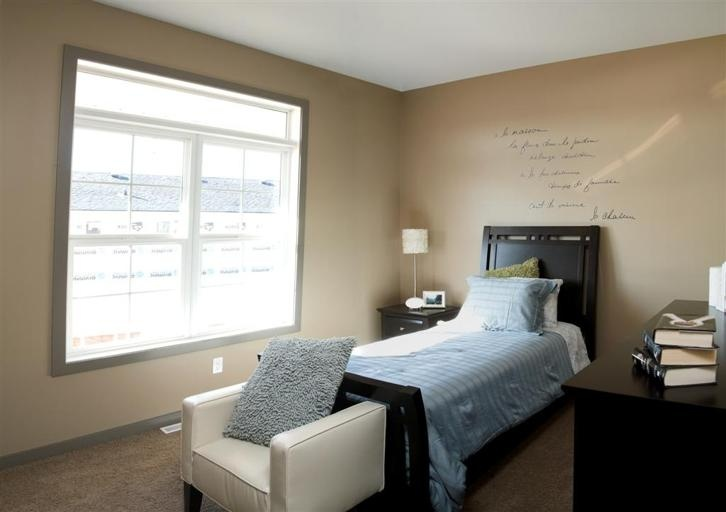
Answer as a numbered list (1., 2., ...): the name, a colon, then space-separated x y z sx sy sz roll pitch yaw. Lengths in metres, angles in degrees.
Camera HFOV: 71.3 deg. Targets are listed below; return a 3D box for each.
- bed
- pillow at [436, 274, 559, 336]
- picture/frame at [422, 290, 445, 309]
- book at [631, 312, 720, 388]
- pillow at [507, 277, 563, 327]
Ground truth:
1. bed: 0.979 0.617 5.339 2.825 2.697 1.105 -1 -2 42
2. pillow: 1.192 0.414 4.390 0.927 0.444 0.445 0 3 21
3. picture/frame: 0.712 0.445 5.199 0.170 0.123 0.013 1 -13 7
4. book: 1.391 0.400 2.277 0.259 0.185 0.363 -2 4 16
5. pillow: 1.425 0.384 4.291 0.383 0.401 0.140 -5 -5 14
